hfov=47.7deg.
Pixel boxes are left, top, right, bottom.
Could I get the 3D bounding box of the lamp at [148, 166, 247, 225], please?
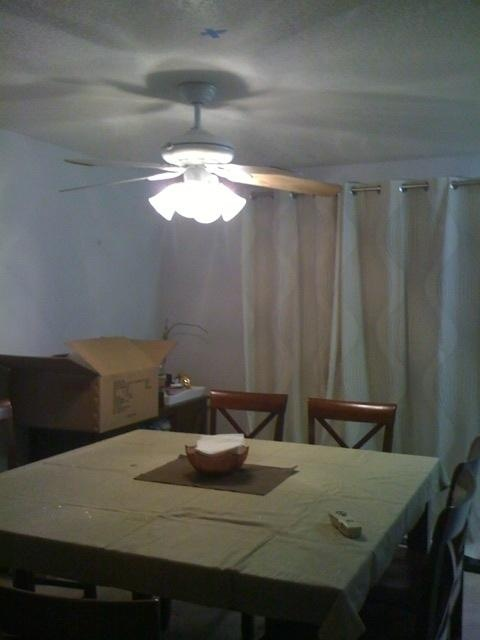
[{"bbox_3d":[-0.154,-0.435,1.922,0.225,0.110,0.231,1,-3,7],"label":"lamp"}]
